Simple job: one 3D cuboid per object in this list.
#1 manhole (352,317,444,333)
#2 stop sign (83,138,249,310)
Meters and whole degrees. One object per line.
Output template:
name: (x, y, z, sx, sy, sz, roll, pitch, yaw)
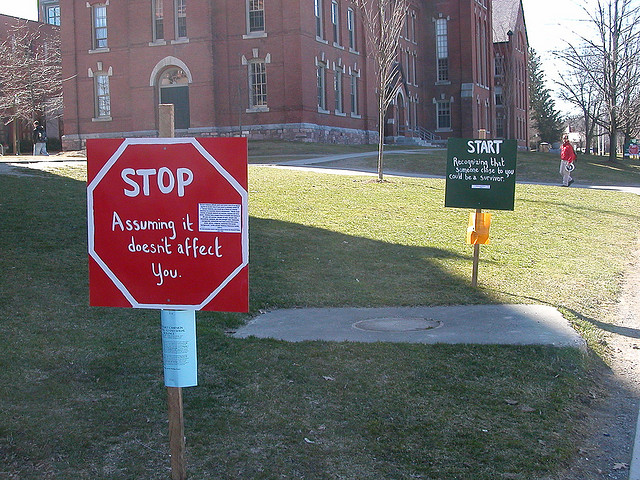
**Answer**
manhole: (1.020, 1.091, 10.020, 1.174, 0.095, 0.682, 3, 13, -7)
stop sign: (-1.231, -0.137, 6.415, 1.414, 1.423, 0.065, -1, 3, 10)
